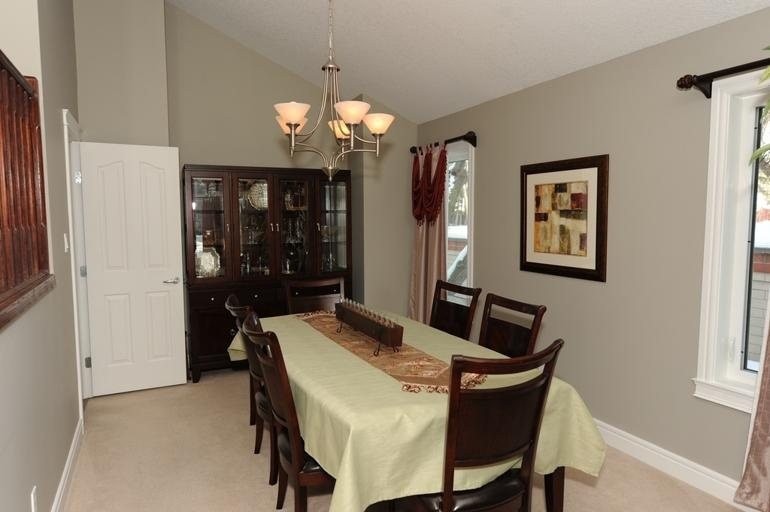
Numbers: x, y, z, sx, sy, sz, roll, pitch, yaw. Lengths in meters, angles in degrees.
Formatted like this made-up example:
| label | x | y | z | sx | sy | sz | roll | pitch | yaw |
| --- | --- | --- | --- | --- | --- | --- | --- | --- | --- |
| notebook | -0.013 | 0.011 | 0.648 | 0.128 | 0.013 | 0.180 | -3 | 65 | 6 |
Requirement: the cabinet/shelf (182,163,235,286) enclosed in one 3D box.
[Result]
| label | x | y | z | sx | sy | sz | roll | pitch | yaw |
| --- | --- | --- | --- | --- | --- | --- | --- | --- | --- |
| cabinet/shelf | -1.912 | -0.296 | 5.603 | 0.417 | 1.193 | 0.154 | -3 | 11 | -25 |

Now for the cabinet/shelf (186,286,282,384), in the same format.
| label | x | y | z | sx | sy | sz | roll | pitch | yaw |
| --- | --- | --- | --- | --- | --- | --- | --- | --- | --- |
| cabinet/shelf | -1.762 | 0.777 | 5.932 | 1.025 | 1.004 | 0.407 | -4 | 10 | -40 |

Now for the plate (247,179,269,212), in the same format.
| label | x | y | z | sx | sy | sz | roll | pitch | yaw |
| --- | --- | --- | --- | --- | --- | --- | --- | --- | --- |
| plate | -1.421 | -0.680 | 5.807 | 0.279 | 0.295 | 0.066 | -33 | 20 | -33 |
